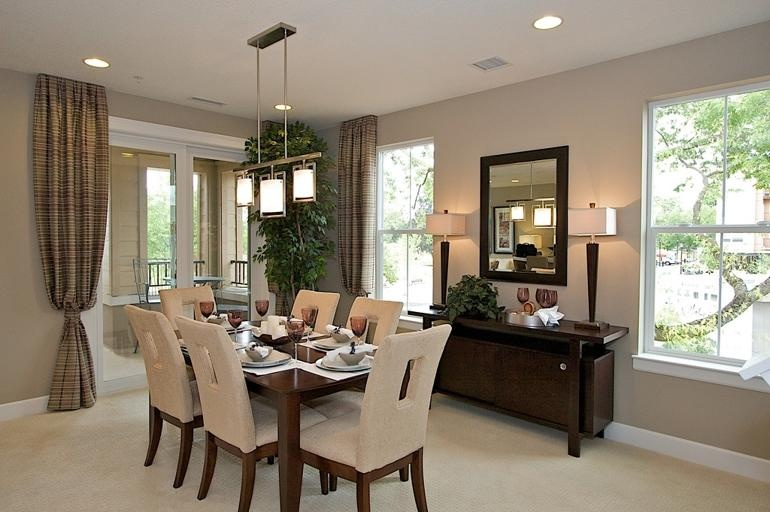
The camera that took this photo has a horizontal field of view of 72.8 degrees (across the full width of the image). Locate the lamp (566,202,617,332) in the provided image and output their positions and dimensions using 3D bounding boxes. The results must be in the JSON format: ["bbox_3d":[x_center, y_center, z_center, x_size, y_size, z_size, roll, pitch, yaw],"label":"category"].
[{"bbox_3d":[1.937,0.075,4.925,0.358,1.156,0.426,2,5,38],"label":"lamp"}]

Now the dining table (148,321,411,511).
[{"bbox_3d":[-1.042,1.041,4.648,1.631,1.978,1.458,-1,1,-42],"label":"dining table"}]

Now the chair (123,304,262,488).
[{"bbox_3d":[-1.629,1.146,4.539,0.970,1.403,0.817,-1,2,-41],"label":"chair"}]

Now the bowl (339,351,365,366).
[{"bbox_3d":[-0.243,0.763,3.884,0.129,0.056,0.127,1,-4,0],"label":"bowl"}]

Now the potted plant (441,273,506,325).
[{"bbox_3d":[0.968,0.366,5.428,0.616,0.330,0.599,-2,5,-5],"label":"potted plant"}]

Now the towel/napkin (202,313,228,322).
[{"bbox_3d":[-1.528,0.556,4.709,0.153,0.049,0.150,0,-2,8],"label":"towel/napkin"}]

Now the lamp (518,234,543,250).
[{"bbox_3d":[1.497,-0.094,5.367,0.143,0.193,0.268,0,-1,-44],"label":"lamp"}]

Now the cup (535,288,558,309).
[{"bbox_3d":[1.547,0.411,5.007,0.200,0.196,0.188,0,0,0],"label":"cup"}]

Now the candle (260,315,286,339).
[{"bbox_3d":[-0.931,0.591,4.347,0.148,0.166,0.242,3,-7,-21],"label":"candle"}]

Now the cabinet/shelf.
[{"bbox_3d":[1.278,1.128,5.322,0.653,1.131,2.099,-5,5,-44],"label":"cabinet/shelf"}]

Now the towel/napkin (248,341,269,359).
[{"bbox_3d":[-0.957,0.713,3.960,0.134,0.075,0.121,2,-6,42],"label":"towel/napkin"}]
